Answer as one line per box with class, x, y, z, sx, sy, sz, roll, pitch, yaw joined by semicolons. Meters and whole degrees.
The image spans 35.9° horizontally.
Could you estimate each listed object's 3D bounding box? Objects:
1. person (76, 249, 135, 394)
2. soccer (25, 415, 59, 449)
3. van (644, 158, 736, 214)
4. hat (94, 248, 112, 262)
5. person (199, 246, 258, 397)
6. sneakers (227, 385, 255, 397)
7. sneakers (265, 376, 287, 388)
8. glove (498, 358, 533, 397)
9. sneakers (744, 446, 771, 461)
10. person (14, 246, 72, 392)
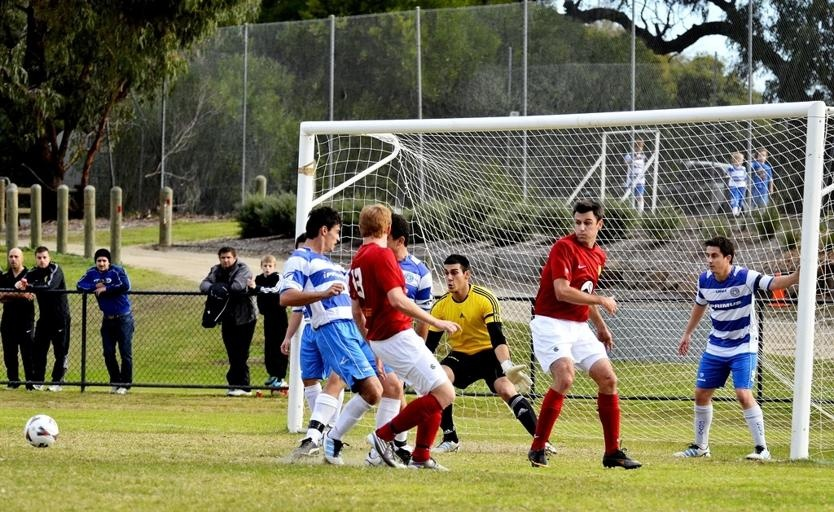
person;-7.017;1.374;29.179;1.082;3.036;0.513;1;-1;-11
soccer;-7.117;3.369;24.258;0.580;0.585;0.328;1;-1;-13
van;7.535;-1.811;34.746;1.460;1.247;2.432;1;9;5
hat;-7.570;0.006;30.901;0.380;0.317;0.387;0;-11;2
person;-4.227;1.380;28.973;1.169;3.120;0.399;0;-1;-10
sneakers;-4.000;3.105;28.793;0.238;0.283;0.654;-11;-26;36
sneakers;-3.170;2.877;28.752;0.596;0.282;0.225;-1;-7;35
glove;1.955;2.353;24.467;0.185;0.594;0.595;-38;8;-22
sneakers;6.567;3.855;24.636;0.513;0.226;0.221;1;-6;-7
person;-8.490;1.448;29.345;1.016;3.312;0.767;0;-1;-5
